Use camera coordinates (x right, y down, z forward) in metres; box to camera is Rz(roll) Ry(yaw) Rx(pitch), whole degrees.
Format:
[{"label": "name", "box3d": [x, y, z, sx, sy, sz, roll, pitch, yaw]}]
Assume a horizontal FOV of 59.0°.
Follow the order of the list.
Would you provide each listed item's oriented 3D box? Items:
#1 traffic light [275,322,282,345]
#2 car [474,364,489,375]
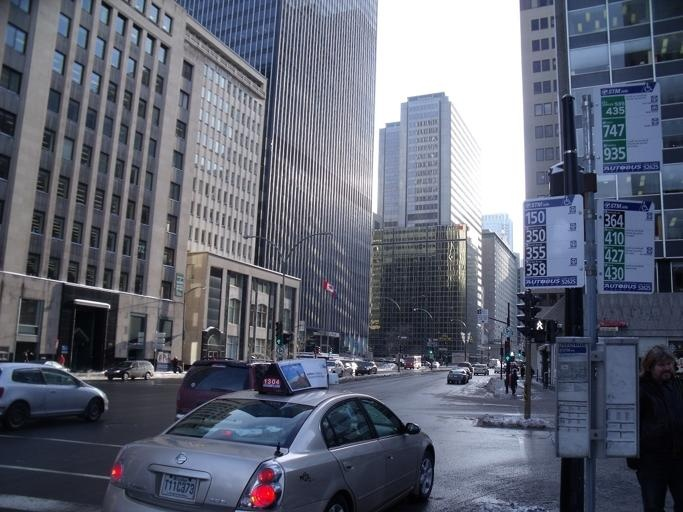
[{"label": "traffic light", "box3d": [-3.835, 4.653, 37.034, 0.359, 1.372, 1.948, 0, -9, -7]}, {"label": "car", "box3d": [20.009, 16.356, 87.115, 1.143, 1.050, 2.847, 0, -2, 16]}]
